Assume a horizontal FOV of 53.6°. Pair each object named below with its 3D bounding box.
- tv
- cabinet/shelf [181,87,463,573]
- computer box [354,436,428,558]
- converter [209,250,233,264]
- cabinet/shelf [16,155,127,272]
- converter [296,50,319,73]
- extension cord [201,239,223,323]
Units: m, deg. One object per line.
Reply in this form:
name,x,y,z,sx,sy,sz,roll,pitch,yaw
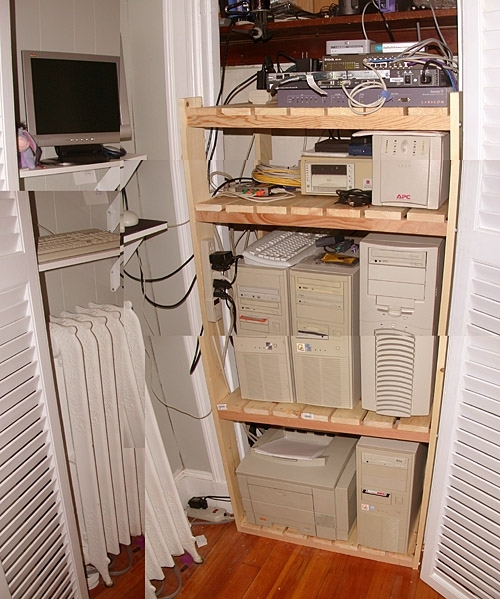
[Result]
tv,-0.257,-0.283,0.730,0.049,0.146,0.163,28,34,32
cabinet/shelf,0.173,0.147,1.095,0.511,1.005,0.367,7,18,25
computer box,0.370,0.527,1.426,0.198,0.341,0.203,8,15,26
converter,-0.049,-0.074,0.890,0.058,0.024,0.015,11,25,37
cabinet/shelf,-0.298,-0.160,0.851,0.091,0.097,0.161,11,27,28
converter,0.106,-0.431,0.913,0.046,0.029,0.045,1,20,14
extension cord,-0.077,-0.033,0.928,0.032,0.132,0.048,5,23,11
